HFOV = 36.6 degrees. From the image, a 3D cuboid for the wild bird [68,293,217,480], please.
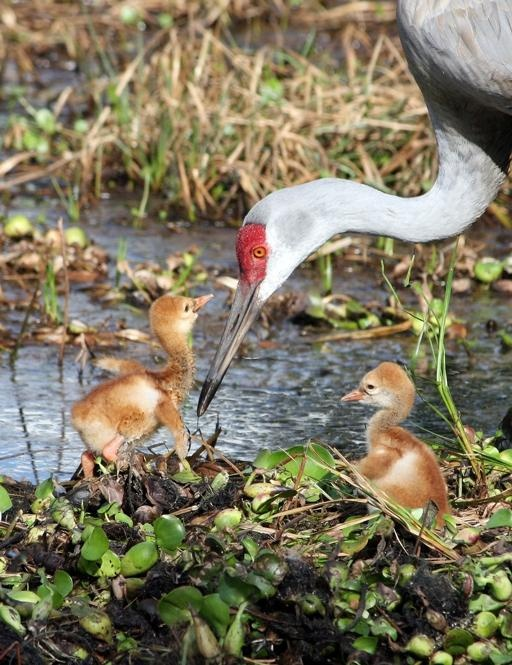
[{"bbox_3d":[-0.461,0.227,2.973,0.461,0.646,0.659,8,22,-6],"label":"wild bird"}]
